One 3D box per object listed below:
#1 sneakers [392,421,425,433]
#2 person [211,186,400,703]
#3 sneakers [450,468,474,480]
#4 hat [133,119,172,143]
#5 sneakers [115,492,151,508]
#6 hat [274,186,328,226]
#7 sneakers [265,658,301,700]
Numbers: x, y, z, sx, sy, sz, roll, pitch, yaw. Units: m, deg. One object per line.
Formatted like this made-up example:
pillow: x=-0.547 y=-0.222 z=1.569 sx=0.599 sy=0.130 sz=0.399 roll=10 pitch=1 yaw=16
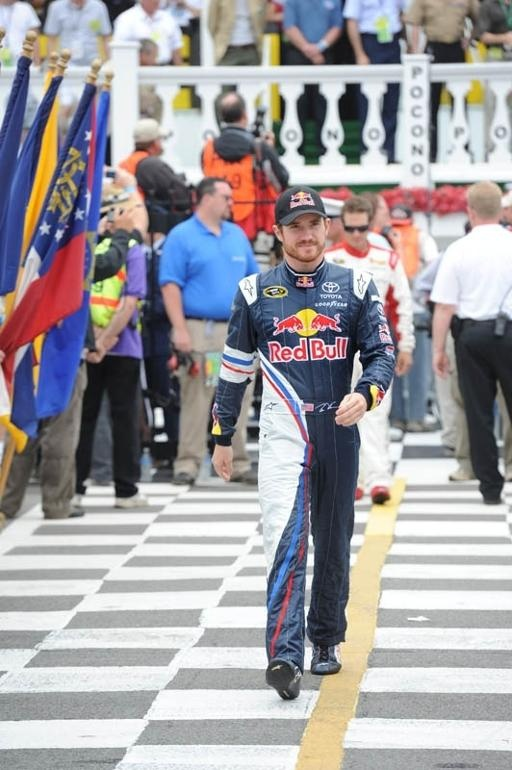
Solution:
sneakers: x=1.264 y=0.324 z=10.598 sx=0.290 sy=0.130 sz=0.099 roll=-3 pitch=8 yaw=-3
person: x=0.171 y=0.166 z=4.071 sx=0.561 sy=1.606 sz=0.563 roll=-2 pitch=3 yaw=-10
sneakers: x=1.356 y=0.588 z=8.428 sx=0.183 sy=0.080 sz=0.068 roll=0 pitch=0 yaw=2
hat: x=-0.762 y=-1.839 z=9.171 sx=0.223 sy=0.200 sz=0.377 roll=-2 pitch=4 yaw=-3
sneakers: x=-0.743 y=0.703 z=7.770 sx=0.083 sy=0.088 sz=0.194 roll=1 pitch=-6 yaw=26
hat: x=0.139 y=-0.578 z=4.084 sx=0.158 sy=0.132 sz=0.193 roll=-1 pitch=3 yaw=1
sneakers: x=0.080 y=0.890 z=3.881 sx=0.073 sy=0.161 sz=0.078 roll=-5 pitch=30 yaw=9
